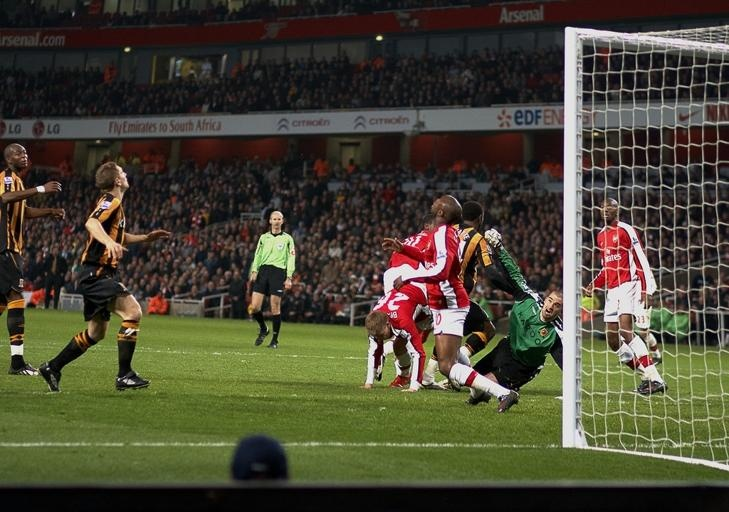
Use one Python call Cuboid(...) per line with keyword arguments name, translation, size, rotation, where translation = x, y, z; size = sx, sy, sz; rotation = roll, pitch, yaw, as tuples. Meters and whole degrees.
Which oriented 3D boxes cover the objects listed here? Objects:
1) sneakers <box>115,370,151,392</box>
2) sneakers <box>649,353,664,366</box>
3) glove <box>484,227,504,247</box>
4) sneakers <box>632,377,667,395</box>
Cuboid(name="sneakers", translation=(-3.336, 1.793, 14.802), size=(0.564, 0.301, 0.238), rotation=(0, 4, 6))
Cuboid(name="sneakers", translation=(5.318, 1.833, 18.510), size=(0.220, 0.288, 0.669), rotation=(5, -9, 20))
Cuboid(name="glove", translation=(1.983, -0.262, 15.733), size=(0.252, 0.286, 0.494), rotation=(4, 1, 5))
Cuboid(name="sneakers", translation=(4.483, 1.996, 15.837), size=(0.561, 0.284, 0.199), rotation=(-5, -2, 0))
